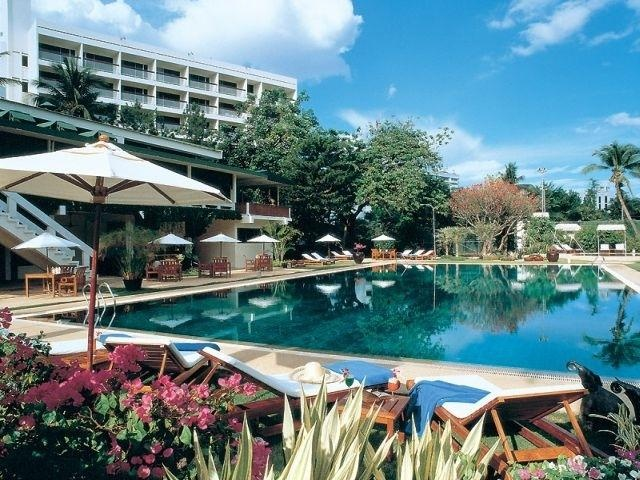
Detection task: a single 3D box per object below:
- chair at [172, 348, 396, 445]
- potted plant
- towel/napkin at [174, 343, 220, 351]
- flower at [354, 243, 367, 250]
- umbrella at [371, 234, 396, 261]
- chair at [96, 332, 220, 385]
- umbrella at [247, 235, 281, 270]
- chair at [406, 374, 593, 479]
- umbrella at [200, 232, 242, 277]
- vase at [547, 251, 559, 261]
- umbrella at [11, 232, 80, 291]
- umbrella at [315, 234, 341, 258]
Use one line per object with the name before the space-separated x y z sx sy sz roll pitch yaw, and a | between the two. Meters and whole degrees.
chair | -0.357 1.665 5.762 2.434 0.789 1.168 0 1 -26
potted plant | -7.476 0.798 19.345 2.225 2.728 2.319 -2 -1 22
towel/napkin | -1.775 1.516 7.066 0.416 0.110 0.418 -1 -3 11
flower | 2.949 0.565 37.546 0.696 0.613 0.715 1 3 44
umbrella | 5.163 0.726 41.020 2.325 2.307 1.994 -1 -1 13
chair | -1.941 1.441 6.655 0.979 0.644 1.641 2 -2 11
umbrella | -3.139 0.601 26.168 1.982 1.919 1.903 0 -5 1
chair | 1.936 1.834 5.303 0.902 0.662 1.660 1 1 -14
umbrella | -5.172 0.811 24.603 2.143 1.909 2.161 3 4 9
vase | 15.217 1.096 32.656 0.368 0.664 0.676 2 -4 -40
umbrella | -8.042 0.586 14.559 1.750 1.465 1.706 -1 -3 -12
umbrella | 0.728 0.523 35.882 1.786 2.066 1.774 -1 3 -9
